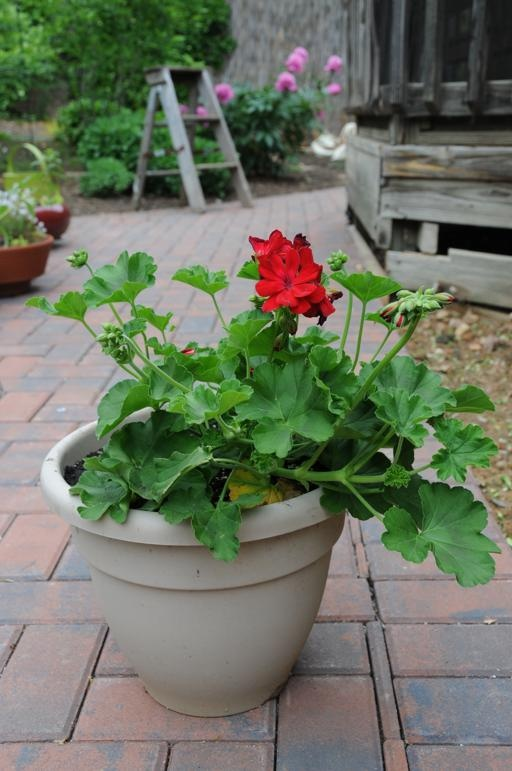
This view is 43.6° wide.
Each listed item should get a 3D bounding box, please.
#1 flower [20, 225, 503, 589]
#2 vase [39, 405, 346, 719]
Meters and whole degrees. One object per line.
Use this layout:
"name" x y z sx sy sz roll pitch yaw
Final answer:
"flower" -0.005 -0.027 0.934 0.480 0.311 0.515 6 12 29
"vase" -0.112 0.293 1.060 0.459 0.307 0.428 -2 18 -6
